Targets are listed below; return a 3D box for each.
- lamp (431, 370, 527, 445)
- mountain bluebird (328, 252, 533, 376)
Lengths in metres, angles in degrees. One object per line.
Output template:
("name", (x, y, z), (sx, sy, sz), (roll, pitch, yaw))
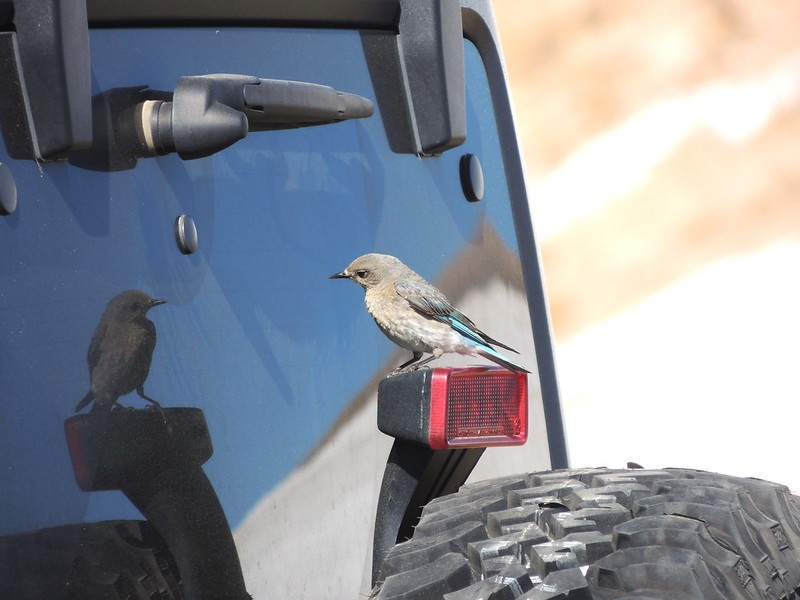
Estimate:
("lamp", (0.252, 0.302, 3.825), (0.247, 0.210, 0.148), (-2, -6, 17))
("mountain bluebird", (0.183, 0.053, 4.129), (0.793, 0.449, 0.268), (4, -6, -21))
